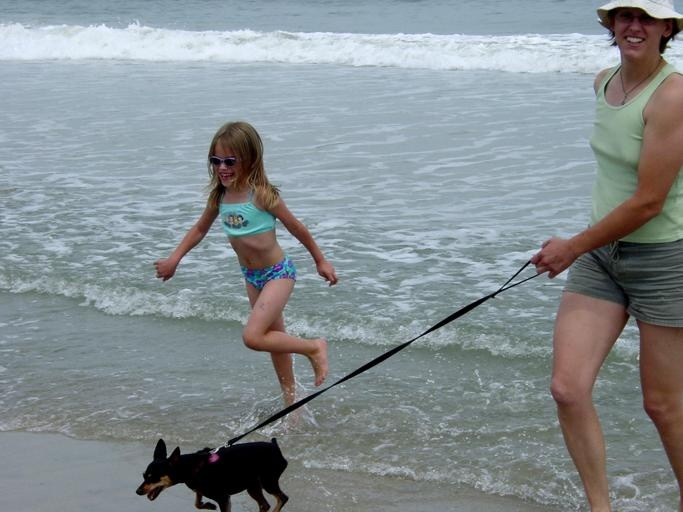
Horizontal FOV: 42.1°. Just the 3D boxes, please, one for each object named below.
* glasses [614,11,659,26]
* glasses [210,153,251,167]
[{"bbox_3d":[1.731,-1.392,5.227,0.187,0.028,0.160,3,0,23],"label":"glasses"},{"bbox_3d":[-0.832,-0.689,6.462,0.255,0.079,0.074,1,15,-2],"label":"glasses"}]
